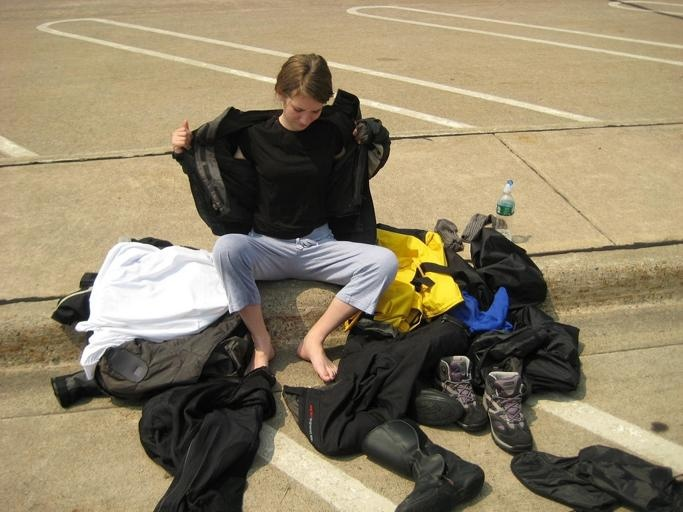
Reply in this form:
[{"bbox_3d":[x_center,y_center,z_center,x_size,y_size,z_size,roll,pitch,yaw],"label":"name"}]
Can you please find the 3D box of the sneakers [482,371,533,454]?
[{"bbox_3d":[0.987,0.959,3.989,0.223,0.261,0.519,-5,48,1],"label":"sneakers"}]
